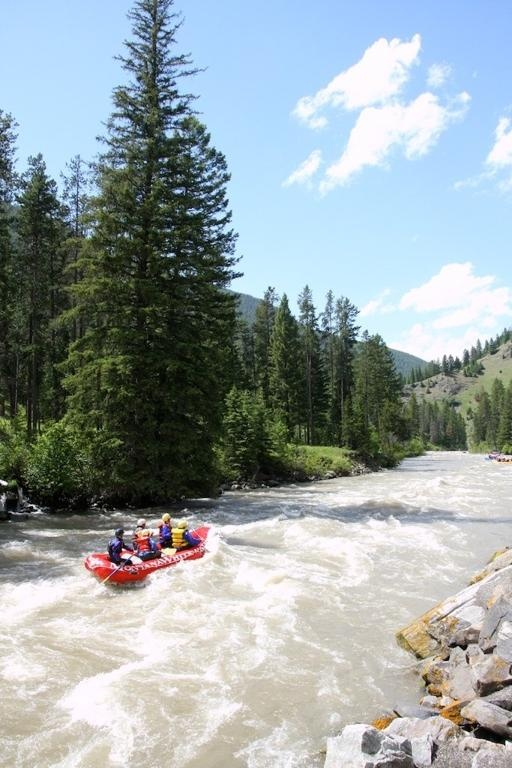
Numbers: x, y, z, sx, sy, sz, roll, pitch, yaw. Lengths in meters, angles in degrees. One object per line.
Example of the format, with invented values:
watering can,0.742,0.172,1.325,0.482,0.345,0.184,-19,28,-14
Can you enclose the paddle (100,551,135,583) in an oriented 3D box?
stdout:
paddle,-2.606,3.561,12.943,0.524,0.419,1.122,0,-5,2

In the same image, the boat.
boat,-2.130,3.339,13.173,0.865,0.377,1.825,5,1,35
